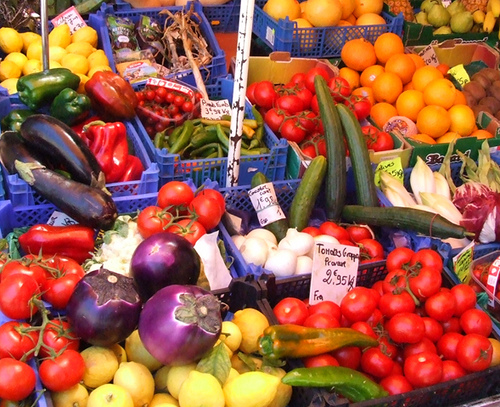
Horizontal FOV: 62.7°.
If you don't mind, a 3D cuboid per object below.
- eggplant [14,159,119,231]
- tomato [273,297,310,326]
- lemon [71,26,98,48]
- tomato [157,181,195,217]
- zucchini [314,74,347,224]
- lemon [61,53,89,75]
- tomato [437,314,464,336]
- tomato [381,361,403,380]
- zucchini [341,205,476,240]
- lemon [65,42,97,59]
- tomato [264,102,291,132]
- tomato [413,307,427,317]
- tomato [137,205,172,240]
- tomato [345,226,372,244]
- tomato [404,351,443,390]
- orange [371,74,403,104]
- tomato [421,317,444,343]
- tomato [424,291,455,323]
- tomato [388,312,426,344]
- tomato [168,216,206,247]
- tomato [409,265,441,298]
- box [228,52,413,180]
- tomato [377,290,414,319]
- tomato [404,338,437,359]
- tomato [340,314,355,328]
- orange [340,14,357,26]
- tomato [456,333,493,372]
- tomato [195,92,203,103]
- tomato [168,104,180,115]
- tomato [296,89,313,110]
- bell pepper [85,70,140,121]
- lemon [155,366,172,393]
[{"bbox_3d":[-1.129,-0.057,2.537,0.742,0.249,0.271,34,32,13],"label":"eggplant"},{"bbox_3d":[0.215,0.564,2.145,0.123,0.139,0.142,-6,42,-1],"label":"tomato"},{"bbox_3d":[-1.642,-1.680,4.096,0.229,0.211,0.192,-12,31,-7],"label":"lemon"},{"bbox_3d":[-0.485,-0.052,2.660,0.221,0.316,0.246,-2,5,1],"label":"tomato"},{"bbox_3d":[0.628,-0.432,3.193,0.186,1.120,0.171,3,-12,-39],"label":"zucchini"},{"bbox_3d":[-1.588,-1.245,3.790,0.211,0.237,0.231,-2,4,-2],"label":"lemon"},{"bbox_3d":[1.139,0.689,2.329,0.089,0.100,0.099,9,29,-4],"label":"tomato"},{"bbox_3d":[0.733,0.847,2.130,0.080,0.104,0.092,-19,68,-2],"label":"tomato"},{"bbox_3d":[1.072,0.102,2.860,0.892,0.204,0.184,11,27,32],"label":"zucchini"},{"bbox_3d":[-1.651,-1.512,3.971,0.191,0.141,0.157,4,23,2],"label":"lemon"},{"bbox_3d":[0.211,-0.741,3.564,0.183,0.242,0.195,35,55,22],"label":"tomato"},{"bbox_3d":[0.962,0.612,2.326,0.045,0.061,0.054,-3,67,-2],"label":"tomato"},{"bbox_3d":[-0.572,0.115,2.410,0.188,0.154,0.159,4,31,3],"label":"tomato"},{"bbox_3d":[0.765,0.208,2.887,0.114,0.135,0.120,3,15,8],"label":"tomato"},{"bbox_3d":[0.836,0.790,2.028,0.157,0.185,0.174,-6,9,-4],"label":"tomato"},{"bbox_3d":[1.355,-1.134,4.049,0.283,0.359,0.288,11,-4,16],"label":"orange"},{"bbox_3d":[0.990,0.676,2.215,0.102,0.122,0.135,-8,-20,5],"label":"tomato"},{"bbox_3d":[1.033,0.556,2.224,0.132,0.159,0.143,0,-12,-11],"label":"tomato"},{"bbox_3d":[0.791,0.626,2.071,0.145,0.162,0.156,-6,10,1],"label":"tomato"},{"bbox_3d":[-0.369,0.143,2.412,0.161,0.174,0.174,31,60,13],"label":"tomato"},{"bbox_3d":[0.954,0.426,2.280,0.146,0.167,0.159,18,24,13],"label":"tomato"},{"bbox_3d":[0.526,-1.112,3.981,1.117,0.786,1.848,-3,50,-15],"label":"box"},{"bbox_3d":[0.810,0.551,2.285,0.144,0.173,0.159,1,-19,-4],"label":"tomato"},{"bbox_3d":[0.893,0.745,2.135,0.106,0.129,0.117,-1,4,7],"label":"tomato"},{"bbox_3d":[0.528,0.632,2.235,0.056,0.076,0.066,-1,56,1],"label":"tomato"},{"bbox_3d":[1.144,-2.084,4.719,0.105,0.138,0.124,9,61,-8],"label":"orange"},{"bbox_3d":[1.134,0.728,2.126,0.165,0.189,0.174,-2,-1,-24],"label":"tomato"},{"bbox_3d":[-0.465,-0.965,3.704,0.039,0.067,0.083,-1,52,24],"label":"tomato"},{"bbox_3d":[-0.674,-0.825,3.575,0.077,0.091,0.100,3,2,8],"label":"tomato"},{"bbox_3d":[0.514,-0.962,3.736,0.150,0.176,0.188,17,2,-4],"label":"tomato"},{"bbox_3d":[-1.117,-0.864,3.440,0.444,0.322,0.246,49,8,1],"label":"bell pepper"},{"bbox_3d":[-0.389,0.790,1.891,0.091,0.121,0.101,-1,35,-8],"label":"lemon"}]
